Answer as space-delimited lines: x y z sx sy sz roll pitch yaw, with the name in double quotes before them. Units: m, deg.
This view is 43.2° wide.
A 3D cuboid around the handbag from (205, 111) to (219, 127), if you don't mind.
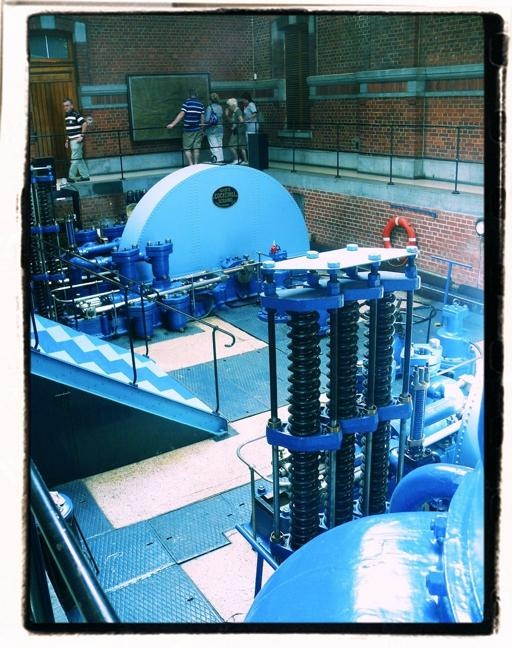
"handbag" -1.106 -5.129 16.245 0.355 0.423 0.404 -12 -2 1
